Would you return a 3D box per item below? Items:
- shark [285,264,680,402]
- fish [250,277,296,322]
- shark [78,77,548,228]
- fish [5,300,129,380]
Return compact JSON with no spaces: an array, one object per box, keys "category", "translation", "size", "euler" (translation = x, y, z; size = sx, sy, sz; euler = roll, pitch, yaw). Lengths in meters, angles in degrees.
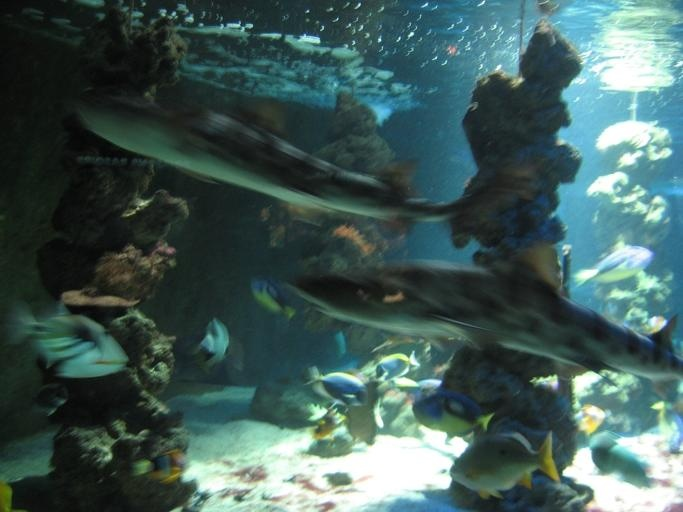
[{"category":"shark","translation":[2.746,0.765,10.003],"size":[7.326,1.595,1.622],"euler":[10,-2,-4]},{"category":"fish","translation":[-1.211,0.688,12.211],"size":[0.627,0.754,0.630],"euler":[11,7,-8]},{"category":"shark","translation":[-0.581,-1.415,9.800],"size":[6.290,1.387,1.333],"euler":[15,-11,-12]},{"category":"fish","translation":[-4.181,1.290,10.612],"size":[1.247,1.277,1.222],"euler":[13,13,36]}]
